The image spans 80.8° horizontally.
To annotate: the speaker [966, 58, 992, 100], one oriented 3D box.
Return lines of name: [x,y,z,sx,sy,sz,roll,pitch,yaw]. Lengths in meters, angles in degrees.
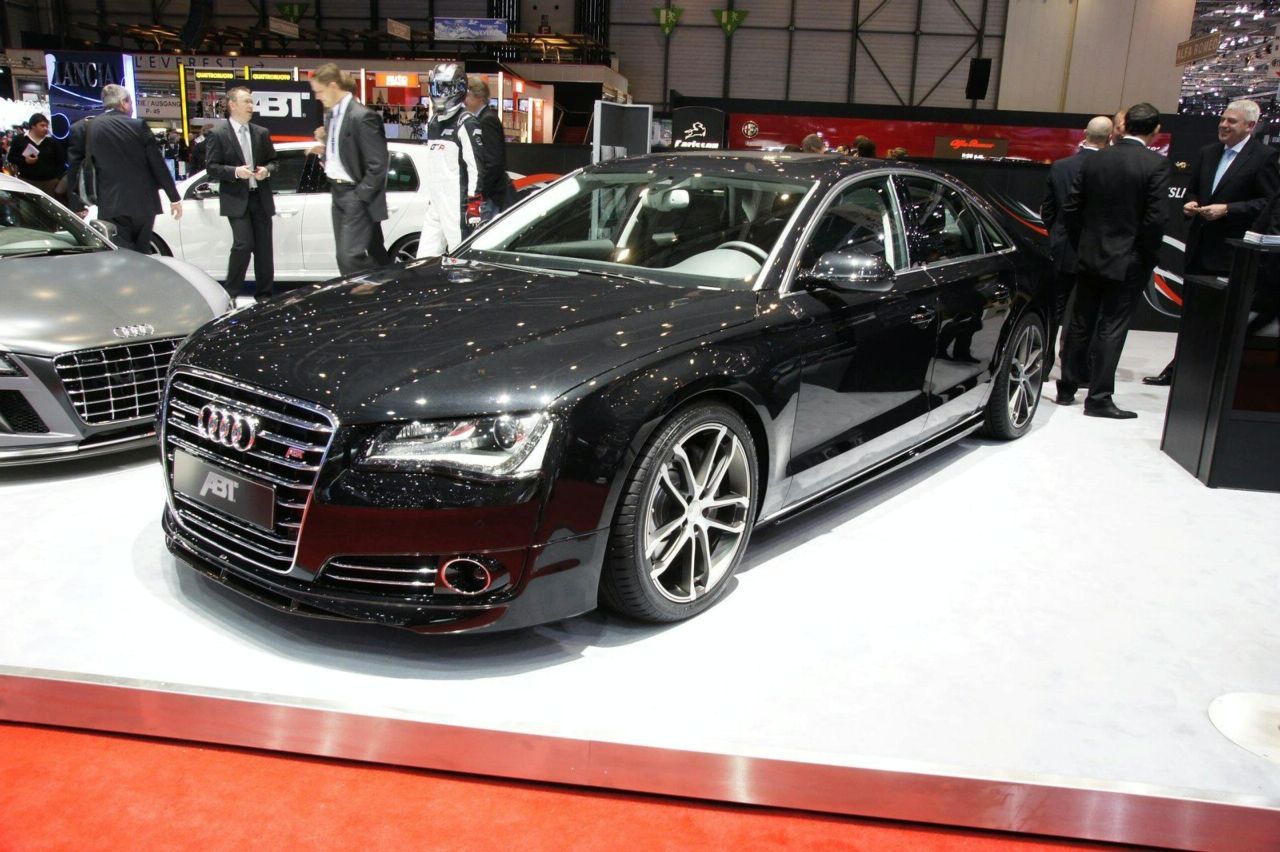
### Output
speaker: [7.927,-8.085,17.579,0.430,0.828,0.933,7,20,15]

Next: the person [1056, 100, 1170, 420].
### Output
person: [3.473,-1.187,5.496,0.523,2.196,0.727,-2,21,-9]

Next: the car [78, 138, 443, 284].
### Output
car: [-3.616,-2.344,8.890,4.283,1.600,2.014,2,15,-2]

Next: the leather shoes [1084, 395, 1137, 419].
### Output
leather shoes: [3.547,-0.134,5.593,0.475,0.172,0.147,1,12,7]

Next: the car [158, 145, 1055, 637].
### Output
car: [0.414,-0.235,3.645,4.143,1.102,1.835,-12,18,-43]

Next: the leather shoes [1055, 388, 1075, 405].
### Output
leather shoes: [3.320,-0.218,5.881,0.109,0.143,0.162,-3,8,-15]

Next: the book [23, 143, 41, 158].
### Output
book: [-8.655,-3.905,10.768,0.189,0.166,0.245,3,-1,-9]
